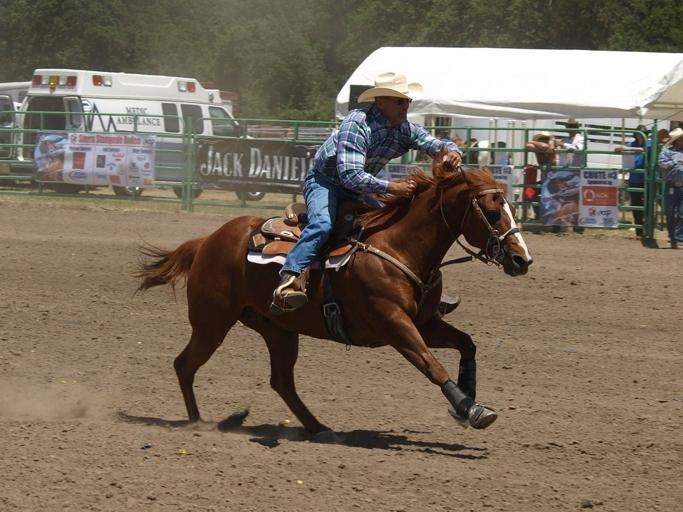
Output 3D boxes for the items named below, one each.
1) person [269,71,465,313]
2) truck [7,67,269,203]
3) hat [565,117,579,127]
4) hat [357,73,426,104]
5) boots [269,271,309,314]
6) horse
[{"bbox_3d":[0.199,-0.586,7.706,1.530,2.140,0.709,2,7,-6],"label":"person"},{"bbox_3d":[-3.195,-3.431,22.535,8.465,2.426,3.591,-2,3,-32],"label":"truck"},{"bbox_3d":[4.888,-2.932,18.874,0.250,0.146,0.511,1,6,9],"label":"hat"},{"bbox_3d":[0.436,-1.484,7.571,0.649,0.154,0.432,-2,8,14],"label":"hat"},{"bbox_3d":[-0.442,0.284,7.515,0.296,0.397,0.216,2,7,-4],"label":"boots"},{"bbox_3d":[-0.261,0.271,8.253,4.319,1.670,0.940,-4,2,33],"label":"horse"}]
